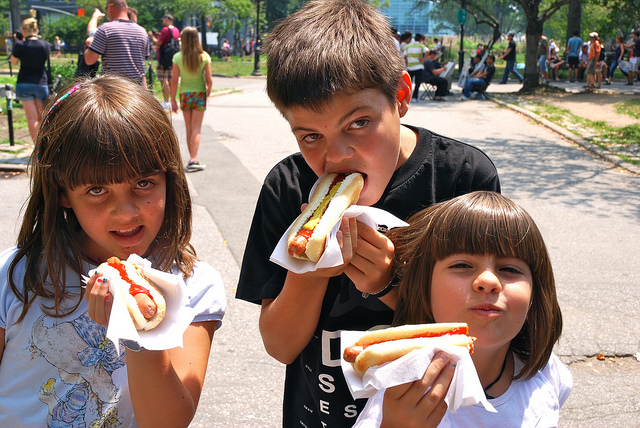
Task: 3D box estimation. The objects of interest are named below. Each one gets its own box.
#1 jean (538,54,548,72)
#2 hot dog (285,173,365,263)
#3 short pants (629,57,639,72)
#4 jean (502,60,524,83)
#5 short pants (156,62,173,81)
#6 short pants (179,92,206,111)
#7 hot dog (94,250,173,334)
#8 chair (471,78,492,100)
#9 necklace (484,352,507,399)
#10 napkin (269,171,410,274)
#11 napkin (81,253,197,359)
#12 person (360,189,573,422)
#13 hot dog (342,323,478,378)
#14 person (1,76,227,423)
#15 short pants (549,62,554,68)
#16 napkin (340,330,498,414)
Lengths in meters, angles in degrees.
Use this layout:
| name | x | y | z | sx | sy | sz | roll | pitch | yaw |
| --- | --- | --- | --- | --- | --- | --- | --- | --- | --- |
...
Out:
| name | x | y | z | sx | sy | sz | roll | pitch | yaw |
| --- | --- | --- | --- | --- | --- | --- | --- | --- | --- |
| jean | 10.791 | -7.258 | 27.789 | 0.307 | 0.817 | 1.586 | 7 | 16 | 17 |
| hot dog | 0.015 | 0.006 | 3.135 | 0.278 | 0.615 | 0.184 | 4 | -33 | 51 |
| short pants | 14.176 | -6.713 | 25.957 | 0.359 | 0.636 | 0.918 | 11 | 17 | 29 |
| jean | 9.508 | -7.001 | 28.440 | 0.893 | 1.093 | 2.762 | 9 | 16 | 22 |
| short pants | -4.042 | -3.673 | 14.946 | 0.324 | 0.463 | 0.597 | -3 | 16 | -20 |
| short pants | -2.274 | -2.014 | 10.273 | 0.525 | 0.383 | 0.310 | 0 | 6 | -9 |
| hot dog | -0.938 | 0.377 | 2.864 | 0.259 | 0.157 | 0.506 | -14 | 36 | -35 |
| chair | 6.077 | -4.747 | 21.799 | 0.802 | 1.073 | 0.767 | -3 | 5 | -10 |
| necklace | 0.922 | 0.850 | 2.994 | 0.111 | 0.191 | 0.051 | 18 | -11 | 47 |
| napkin | 0.061 | 0.117 | 3.016 | 0.405 | 0.142 | 0.546 | 26 | 58 | 27 |
| napkin | -0.842 | 0.425 | 2.780 | 0.370 | 0.544 | 0.197 | -26 | -15 | -31 |
| person | 0.849 | 0.450 | 3.140 | 0.924 | 1.273 | 0.525 | 4 | 5 | -6 |
| hot dog | 0.419 | 0.617 | 2.741 | 0.580 | 0.174 | 0.281 | -12 | 10 | 5 |
| person | -1.125 | 0.183 | 3.021 | 1.166 | 1.700 | 0.879 | 2 | 15 | -1 |
| short pants | 12.190 | -7.796 | 30.229 | 0.203 | 0.258 | 0.861 | 8 | 16 | 18 |
| napkin | 0.450 | 0.753 | 2.685 | 0.715 | 0.303 | 0.167 | 5 | 15 | 6 |
